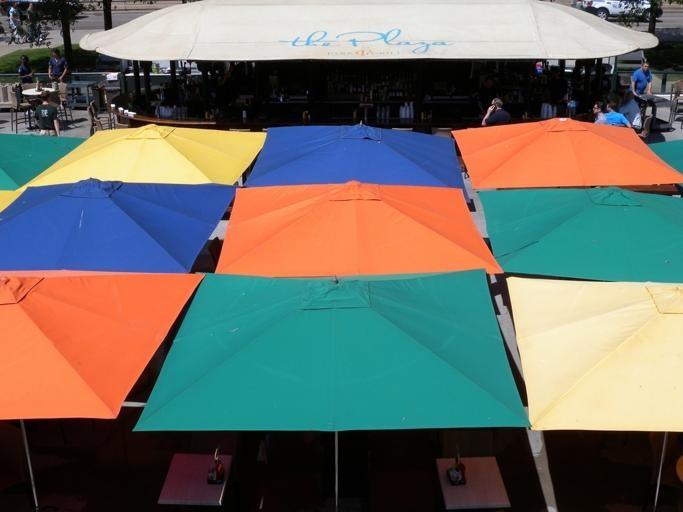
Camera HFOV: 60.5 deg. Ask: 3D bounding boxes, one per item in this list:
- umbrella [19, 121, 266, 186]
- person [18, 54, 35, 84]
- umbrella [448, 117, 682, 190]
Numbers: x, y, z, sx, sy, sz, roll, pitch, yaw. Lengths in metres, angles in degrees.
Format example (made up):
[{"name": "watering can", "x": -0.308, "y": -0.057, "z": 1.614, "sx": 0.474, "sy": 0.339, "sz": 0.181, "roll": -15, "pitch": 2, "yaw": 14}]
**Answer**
[{"name": "umbrella", "x": -2.778, "y": -1.540, "z": 8.966, "sx": 3.270, "sy": 0.878, "sz": 2.086, "roll": -8, "pitch": 16, "yaw": -21}, {"name": "person", "x": -11.007, "y": -6.494, "z": 20.347, "sx": 0.396, "sy": 0.962, "sz": 1.279, "roll": -9, "pitch": 16, "yaw": -27}, {"name": "umbrella", "x": 3.356, "y": -1.606, "z": 9.014, "sx": 2.879, "sy": 0.962, "sz": 2.125, "roll": 0, "pitch": 15, "yaw": 8}]
